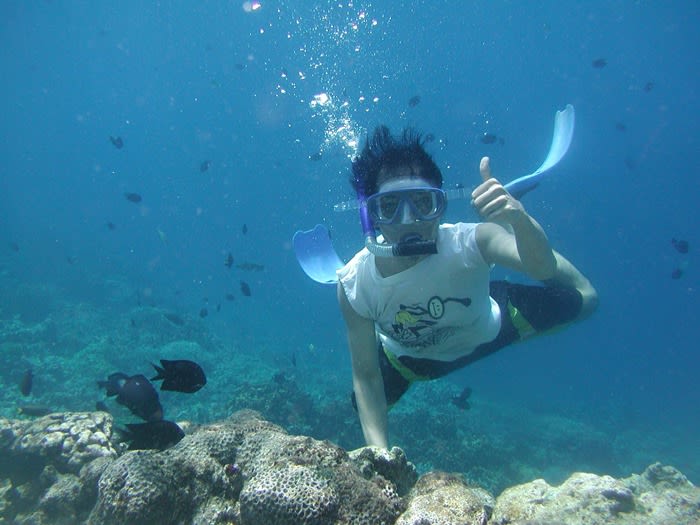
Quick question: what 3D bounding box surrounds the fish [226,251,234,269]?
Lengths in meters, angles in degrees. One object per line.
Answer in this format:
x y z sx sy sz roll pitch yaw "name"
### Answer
-6.125 -0.138 32.272 0.456 0.666 0.294 -1 15 -17 "fish"
